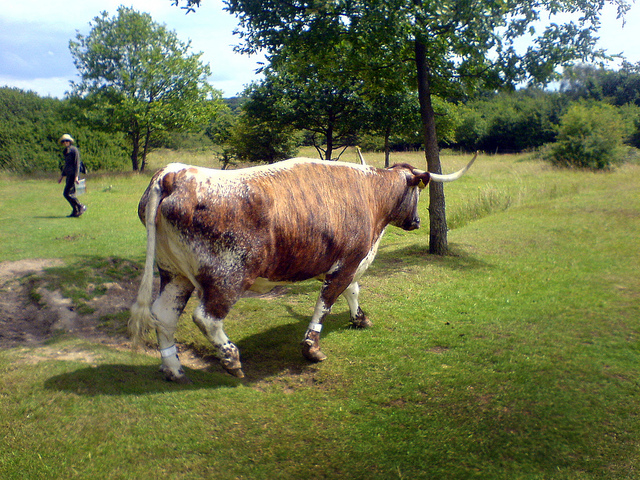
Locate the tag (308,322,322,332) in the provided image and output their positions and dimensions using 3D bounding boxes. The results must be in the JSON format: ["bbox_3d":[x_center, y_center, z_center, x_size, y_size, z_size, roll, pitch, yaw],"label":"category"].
[{"bbox_3d":[-0.077,1.342,8.968,0.133,0.081,0.134,10,-4,-6],"label":"tag"}]

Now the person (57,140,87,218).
[{"bbox_3d":[-6.847,-1.722,16.078,0.534,2.098,1.367,-5,11,-23],"label":"person"}]

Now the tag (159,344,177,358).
[{"bbox_3d":[-2.176,1.592,8.336,0.172,0.096,0.186,-5,1,4],"label":"tag"}]
